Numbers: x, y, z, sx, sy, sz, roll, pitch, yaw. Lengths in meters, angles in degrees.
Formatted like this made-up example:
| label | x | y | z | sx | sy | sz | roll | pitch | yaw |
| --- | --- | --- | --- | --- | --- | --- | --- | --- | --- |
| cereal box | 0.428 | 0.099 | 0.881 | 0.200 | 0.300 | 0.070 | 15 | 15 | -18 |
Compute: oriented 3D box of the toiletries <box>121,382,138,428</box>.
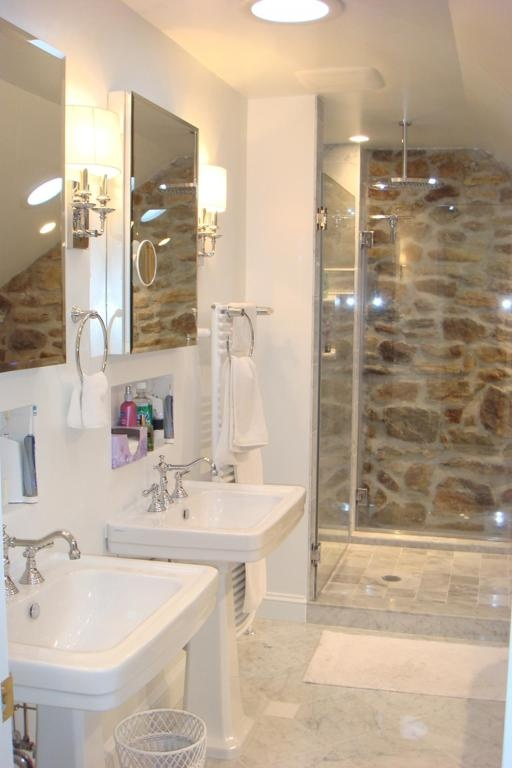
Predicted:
| label | x | y | z | sx | sy | sz | roll | pitch | yaw |
| --- | --- | --- | --- | --- | --- | --- | --- | --- | --- |
| toiletries | -0.405 | 0.074 | 1.967 | 0.042 | 0.139 | 0.100 | 0 | 1 | 17 |

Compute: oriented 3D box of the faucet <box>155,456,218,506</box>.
| label | x | y | z | sx | sy | sz | roll | pitch | yaw |
| --- | --- | --- | --- | --- | --- | --- | --- | --- | --- |
| faucet | -0.309 | 0.325 | 2.161 | 0.108 | 0.164 | 0.263 | -1 | -1 | -41 |

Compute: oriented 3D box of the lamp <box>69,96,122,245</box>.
| label | x | y | z | sx | sy | sz | roll | pitch | yaw |
| --- | --- | --- | --- | --- | --- | --- | --- | --- | --- |
| lamp | -0.425 | -0.582 | 1.644 | 0.122 | 0.444 | 0.290 | 0 | 1 | -1 |

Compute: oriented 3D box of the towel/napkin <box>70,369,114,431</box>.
| label | x | y | z | sx | sy | sz | roll | pitch | yaw |
| --- | --- | --- | --- | --- | --- | --- | --- | --- | --- |
| towel/napkin | -0.433 | 0.041 | 1.597 | 0.081 | 0.179 | 0.176 | 5 | 4 | 16 |

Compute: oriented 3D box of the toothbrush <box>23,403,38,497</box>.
| label | x | y | z | sx | sy | sz | roll | pitch | yaw |
| --- | --- | --- | --- | --- | --- | --- | --- | --- | --- |
| toothbrush | -0.507 | 0.154 | 1.381 | 0.024 | 0.206 | 0.092 | 0 | 1 | -11 |

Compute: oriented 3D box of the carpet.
| label | x | y | z | sx | sy | sz | roll | pitch | yaw |
| --- | --- | --- | --- | --- | --- | --- | --- | --- | --- |
| carpet | 0.670 | 1.207 | 2.665 | 0.861 | 0.034 | 0.528 | 0 | 1 | 10 |

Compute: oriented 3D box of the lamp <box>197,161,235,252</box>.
| label | x | y | z | sx | sy | sz | roll | pitch | yaw |
| --- | --- | --- | --- | --- | --- | --- | --- | --- | --- |
| lamp | -0.187 | -0.720 | 2.615 | 0.118 | 0.370 | 0.370 | 0 | 1 | -5 |

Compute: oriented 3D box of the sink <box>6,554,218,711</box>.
| label | x | y | z | sx | sy | sz | roll | pitch | yaw |
| --- | --- | --- | --- | --- | --- | --- | --- | --- | --- |
| sink | -0.290 | 0.448 | 1.154 | 0.304 | 0.105 | 0.452 | 2 | 8 | 11 |
